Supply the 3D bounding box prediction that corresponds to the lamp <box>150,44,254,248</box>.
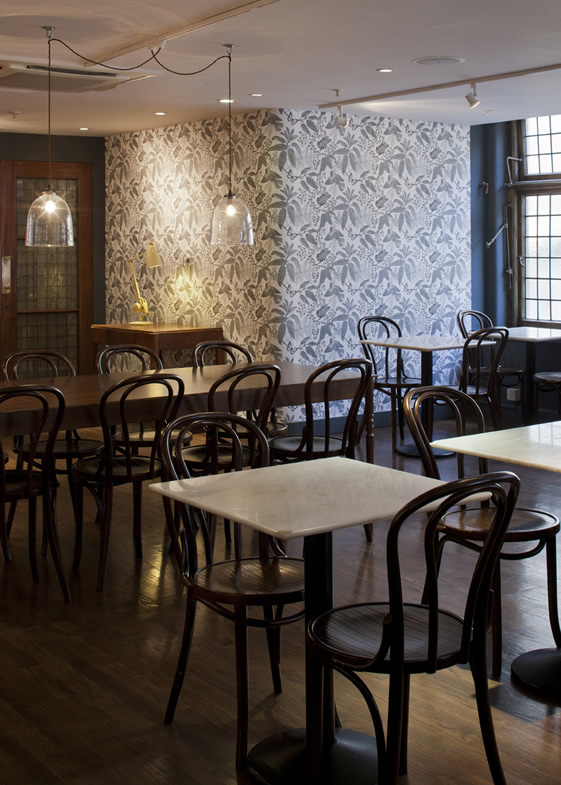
[{"bbox_3d":[-0.481,-1.605,3.849,0.649,1.395,0.265,3,-11,-16],"label":"lamp"}]
